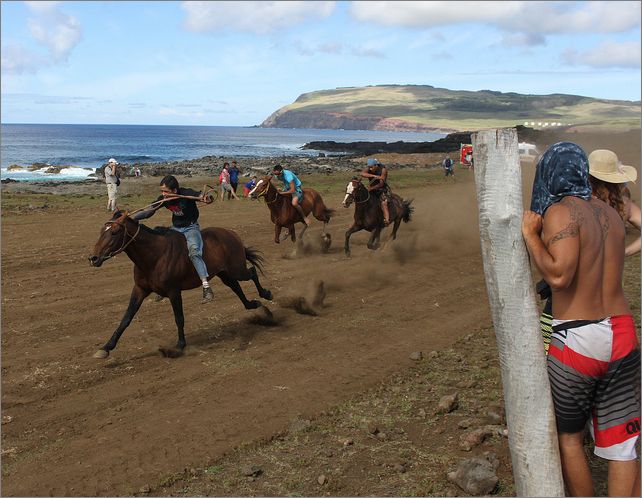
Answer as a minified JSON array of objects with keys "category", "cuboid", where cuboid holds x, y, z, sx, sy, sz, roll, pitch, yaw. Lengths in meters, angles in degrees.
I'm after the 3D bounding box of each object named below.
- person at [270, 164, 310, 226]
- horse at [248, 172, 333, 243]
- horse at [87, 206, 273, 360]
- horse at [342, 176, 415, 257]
[{"category":"person","cuboid":[-1.077,-1.894,14.299,1.098,2.143,0.834,-31,26,-27]},{"category":"horse","cuboid":[-0.860,-1.278,14.643,1.260,2.727,4.559,6,13,32]},{"category":"horse","cuboid":[-2.518,0.514,8.277,0.930,2.216,4.080,-1,5,33]},{"category":"horse","cuboid":[1.822,-1.224,14.190,0.919,2.472,2.916,10,19,38]}]
